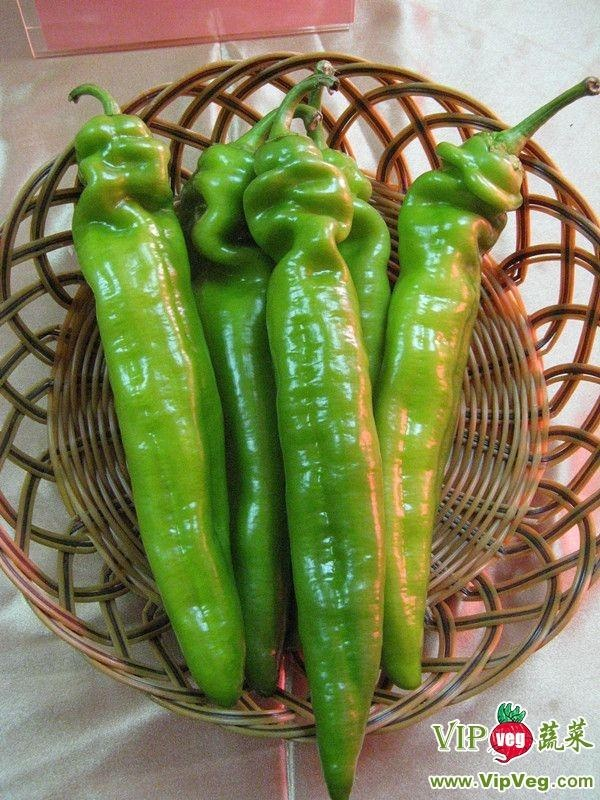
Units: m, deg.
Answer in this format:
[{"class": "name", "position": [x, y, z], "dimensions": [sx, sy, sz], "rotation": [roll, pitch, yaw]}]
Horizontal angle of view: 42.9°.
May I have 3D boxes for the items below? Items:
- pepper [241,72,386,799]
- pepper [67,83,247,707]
[{"class": "pepper", "position": [0.016, 0.018, 0.703], "dimensions": [0.107, 0.114, 0.614], "rotation": [-8, 76, 14]}, {"class": "pepper", "position": [-0.121, 0.005, 0.744], "dimensions": [0.126, 0.117, 0.647], "rotation": [-13, 80, 0]}]
